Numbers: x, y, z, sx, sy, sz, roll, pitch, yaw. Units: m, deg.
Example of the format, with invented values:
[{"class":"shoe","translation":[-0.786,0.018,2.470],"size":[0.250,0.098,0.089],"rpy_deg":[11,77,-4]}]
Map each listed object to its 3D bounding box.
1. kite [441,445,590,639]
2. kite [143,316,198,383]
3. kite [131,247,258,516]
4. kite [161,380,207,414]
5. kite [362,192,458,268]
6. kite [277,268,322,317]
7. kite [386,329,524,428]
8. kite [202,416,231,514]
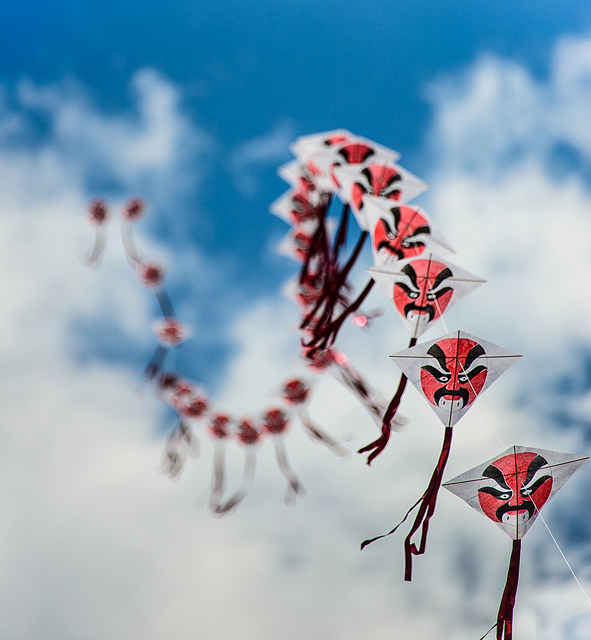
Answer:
[{"class":"kite","translation":[0.840,0.736,5.937],"size":[0.527,0.616,0.680],"rpy_deg":[8,-43,6]},{"class":"kite","translation":[-0.555,0.125,6.418],"size":[0.216,0.242,0.180],"rpy_deg":[9,-43,5]},{"class":"kite","translation":[-0.482,0.259,6.471],"size":[0.494,0.100,1.124],"rpy_deg":[-21,-91,-3]},{"class":"kite","translation":[-0.492,0.320,6.410],"size":[0.144,0.107,0.099],"rpy_deg":[-16,-50,28]},{"class":"kite","translation":[0.455,-0.359,6.073],"size":[0.230,0.343,0.080],"rpy_deg":[-31,-19,-2]},{"class":"kite","translation":[0.043,-0.152,6.464],"size":[0.224,0.230,0.053],"rpy_deg":[-43,-71,-2]},{"class":"kite","translation":[0.599,0.189,5.760],"size":[0.379,0.198,0.370],"rpy_deg":[35,-47,-24]},{"class":"kite","translation":[-0.352,0.608,6.374],"size":[0.099,0.372,0.216],"rpy_deg":[-2,-46,16]}]
